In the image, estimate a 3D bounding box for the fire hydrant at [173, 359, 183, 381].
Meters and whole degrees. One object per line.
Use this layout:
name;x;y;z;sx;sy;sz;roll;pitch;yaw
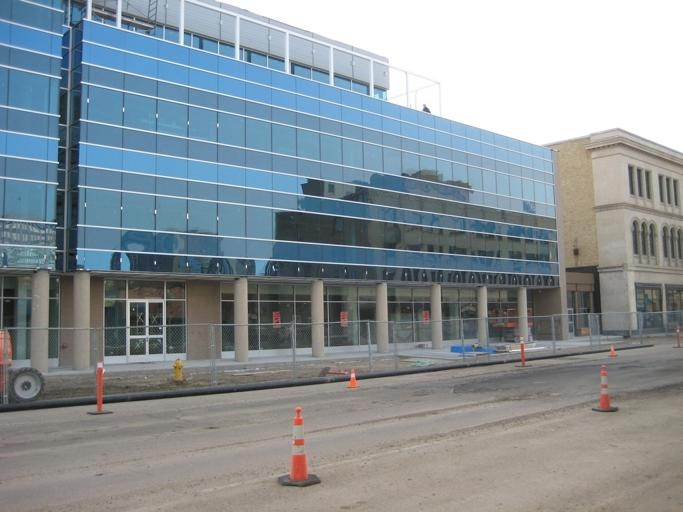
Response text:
fire hydrant;-6.718;4.692;26.166;0.355;0.894;0.845;-1;-9;-16
